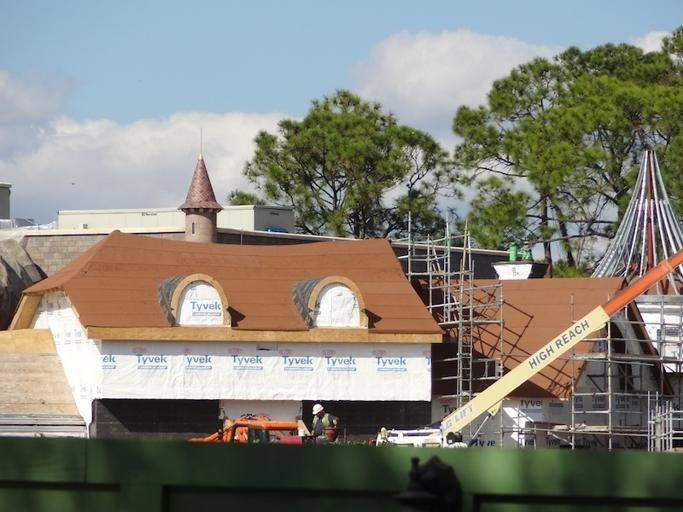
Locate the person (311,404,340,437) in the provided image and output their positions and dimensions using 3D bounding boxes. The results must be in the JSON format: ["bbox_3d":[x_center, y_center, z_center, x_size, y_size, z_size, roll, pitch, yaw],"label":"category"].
[{"bbox_3d":[-0.679,6.508,79.310,0.578,1.444,0.878,8,-19,-40],"label":"person"}]

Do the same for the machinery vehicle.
[{"bbox_3d":[4.833,3.139,73.338,19.437,7.522,16.991,0,-5,-11],"label":"machinery vehicle"}]
